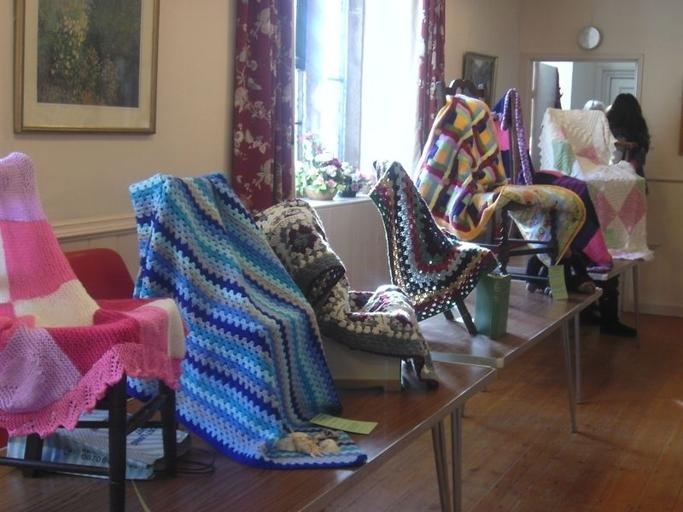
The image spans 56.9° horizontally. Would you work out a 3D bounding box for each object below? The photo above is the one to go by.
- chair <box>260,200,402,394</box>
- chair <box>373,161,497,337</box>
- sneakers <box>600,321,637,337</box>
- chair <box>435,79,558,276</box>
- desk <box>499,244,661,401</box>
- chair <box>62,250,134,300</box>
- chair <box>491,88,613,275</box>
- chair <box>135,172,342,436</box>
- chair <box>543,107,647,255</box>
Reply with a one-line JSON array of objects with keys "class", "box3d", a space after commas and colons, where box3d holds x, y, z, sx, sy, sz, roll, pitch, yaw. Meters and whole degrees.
[{"class": "chair", "box3d": [0.028, 0.137, 3.442, 0.550, 1.172, 0.915, 0, 2, 3]}, {"class": "chair", "box3d": [0.377, 0.004, 2.448, 0.395, 0.599, 0.331, -13, 11, 12]}, {"class": "sneakers", "box3d": [2.296, 0.605, 5.254, 0.251, 0.123, 0.117, -2, 1, 25]}, {"class": "chair", "box3d": [0.803, -0.379, 3.057, 0.751, 0.980, 0.526, -7, 5, -38]}, {"class": "desk", "box3d": [1.467, 0.248, 4.427, 0.825, 0.798, 1.032, -28, 35, -25]}, {"class": "chair", "box3d": [-0.815, 0.057, 2.199, 0.178, 0.249, 0.182, -2, 5, 33]}, {"class": "chair", "box3d": [1.212, -0.431, 3.864, 0.683, 1.097, 0.634, 2, 11, 12]}, {"class": "chair", "box3d": [-0.294, 0.133, 1.738, 0.396, 0.710, 0.449, -3, 4, 21]}, {"class": "chair", "box3d": [1.895, -0.552, 4.720, 0.672, 1.112, 0.865, -5, 11, 8]}]
